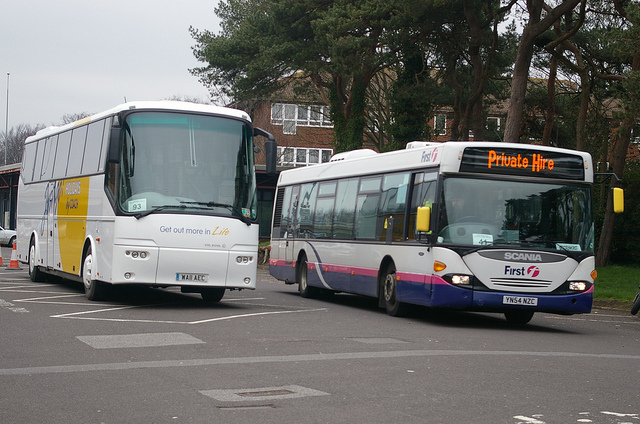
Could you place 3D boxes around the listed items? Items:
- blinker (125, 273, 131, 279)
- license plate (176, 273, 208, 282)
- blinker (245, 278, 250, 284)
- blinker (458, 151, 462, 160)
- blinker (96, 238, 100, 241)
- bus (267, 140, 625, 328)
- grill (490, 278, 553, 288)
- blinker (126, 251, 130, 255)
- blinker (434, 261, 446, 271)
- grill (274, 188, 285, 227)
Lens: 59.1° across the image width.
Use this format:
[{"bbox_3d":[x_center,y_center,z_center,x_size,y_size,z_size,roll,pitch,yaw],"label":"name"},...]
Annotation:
[{"bbox_3d":[-4.552,1.500,13.374,0.118,0.134,0.029,1,-1,-16],"label":"blinker"},{"bbox_3d":[-3.093,1.577,13.677,0.740,0.180,0.068,2,-3,-16],"label":"license plate"},{"bbox_3d":[-1.830,1.715,14.200,0.118,0.125,0.024,4,-4,-37],"label":"blinker"},{"bbox_3d":[3.163,-1.295,12.846,0.033,0.144,0.146,7,-7,0],"label":"blinker"},{"bbox_3d":[-5.610,0.687,14.304,0.066,0.059,0.101,1,1,0],"label":"blinker"},{"bbox_3d":[1.875,0.724,18.746,4.349,5.099,13.811,2,-6,-21],"label":"bus"},{"bbox_3d":[4.453,1.569,12.608,1.447,0.209,0.136,2,-3,-14],"label":"grill"},{"bbox_3d":[-4.534,0.950,13.345,0.079,0.091,0.020,2,2,-2],"label":"blinker"},{"bbox_3d":[2.680,1.194,12.633,0.030,0.184,0.212,4,-1,-42],"label":"blinker"},{"bbox_3d":[-1.571,-0.195,21.596,0.222,1.472,0.743,2,-3,-18],"label":"grill"}]
